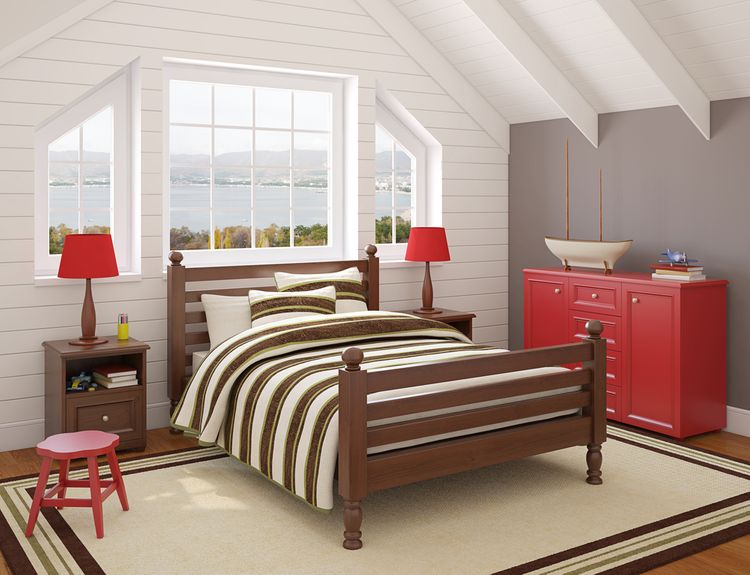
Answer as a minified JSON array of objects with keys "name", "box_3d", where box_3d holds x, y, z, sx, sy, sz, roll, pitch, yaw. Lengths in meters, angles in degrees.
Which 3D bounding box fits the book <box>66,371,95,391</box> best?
[{"name":"book","box_3d":[-1.785,0.576,3.694,0.110,0.060,0.169,0,0,-11]}]

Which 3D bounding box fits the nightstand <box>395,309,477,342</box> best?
[{"name":"nightstand","box_3d":[0.552,0.254,4.783,0.370,0.294,0.337,-1,3,-33]}]

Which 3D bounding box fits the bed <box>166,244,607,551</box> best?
[{"name":"bed","box_3d":[-0.060,0.432,3.716,1.916,0.958,2.232,-3,7,-28]}]

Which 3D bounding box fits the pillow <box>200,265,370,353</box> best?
[{"name":"pillow","box_3d":[-0.629,0.152,3.968,0.722,0.378,0.099,-5,-5,-23]}]

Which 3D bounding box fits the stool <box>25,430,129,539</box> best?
[{"name":"stool","box_3d":[-1.340,0.912,2.879,0.502,0.424,0.431,0,0,-1]}]

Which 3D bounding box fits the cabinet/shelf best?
[{"name":"cabinet/shelf","box_3d":[1.866,0.413,4.511,0.592,0.946,1.506,-4,5,-24]}]

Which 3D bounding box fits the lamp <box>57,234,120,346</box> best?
[{"name":"lamp","box_3d":[-1.754,0.005,3.720,0.319,0.667,0.314,-3,7,-24]}]
